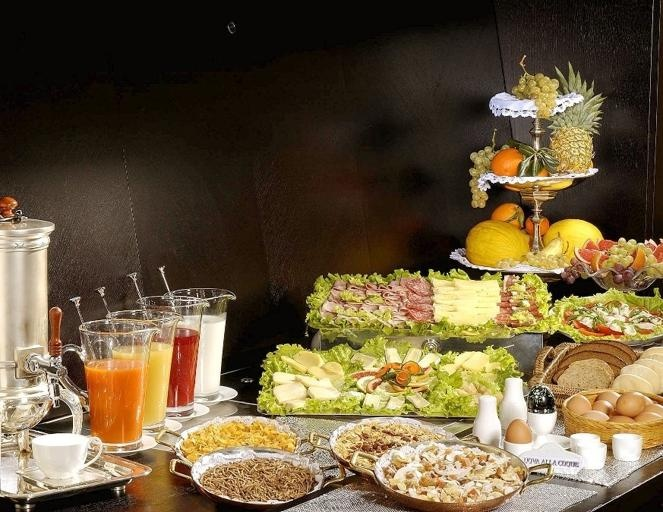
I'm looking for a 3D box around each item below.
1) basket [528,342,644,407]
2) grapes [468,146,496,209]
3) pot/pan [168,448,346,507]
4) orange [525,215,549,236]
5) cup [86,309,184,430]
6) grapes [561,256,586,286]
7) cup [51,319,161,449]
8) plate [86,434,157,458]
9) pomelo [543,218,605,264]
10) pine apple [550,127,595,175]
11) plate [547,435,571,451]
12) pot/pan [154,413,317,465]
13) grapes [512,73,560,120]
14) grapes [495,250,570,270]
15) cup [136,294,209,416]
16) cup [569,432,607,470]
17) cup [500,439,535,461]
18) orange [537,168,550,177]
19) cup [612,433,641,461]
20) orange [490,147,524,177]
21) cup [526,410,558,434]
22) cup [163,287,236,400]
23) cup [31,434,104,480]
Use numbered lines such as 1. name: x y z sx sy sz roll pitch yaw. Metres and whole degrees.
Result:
1. basket: 0.688 0.311 1.725 0.293 0.133 0.196 -2 6 -12
2. grapes: 0.780 -0.399 3.184 0.146 0.320 0.234 -5 6 13
3. pot/pan: -0.119 0.425 1.166 0.275 0.079 0.172 -4 5 10
4. orange: 1.085 -0.151 3.209 0.123 0.096 0.108 -2 -20 -8
5. cup: -0.449 0.261 1.513 0.194 0.276 0.184 2 7 0
6. grapes: 1.084 0.075 2.783 0.072 0.092 0.155 -47 8 21
7. cup: -0.491 0.296 1.387 0.275 0.268 0.173 0 1 16
8. plate: -0.453 0.411 1.323 0.128 0.020 0.114 -1 0 -6
9. pomelo: 1.196 -0.077 3.144 0.310 0.205 0.189 -1 9 -11
10. pine apple: 1.176 -0.523 3.046 0.170 0.239 0.197 -3 7 29
11. plate: 0.490 0.408 1.335 0.056 0.011 0.056 5 8 41
12. pot/pan: -0.211 0.405 1.384 0.175 0.020 0.129 2 2 0
13. grapes: 1.000 -0.778 3.057 0.223 0.213 0.170 -4 12 -15
14. grapes: 0.977 0.017 2.992 0.321 0.106 0.239 -3 5 17
15. cup: -0.407 0.251 1.648 0.148 0.325 0.143 3 10 -1
16. cup: 0.535 0.409 1.291 0.067 0.049 0.078 0 2 7
17. cup: 0.395 0.409 1.302 0.058 0.034 0.053 0 1 0
18. orange: 1.032 -0.398 3.001 0.053 0.050 0.047 8 -3 -4
19. cup: 0.636 0.415 1.330 0.065 0.038 0.058 0 -2 6
20. orange: 0.859 -0.456 3.013 0.130 0.151 0.113 -8 6 -22
21. cup: 0.465 0.373 1.367 0.058 0.050 0.057 0 -4 0
22. cup: -0.364 0.242 1.761 0.162 0.333 0.149 3 11 -1
23. cup: -0.507 0.386 1.180 0.101 0.089 0.089 -9 6 -32
